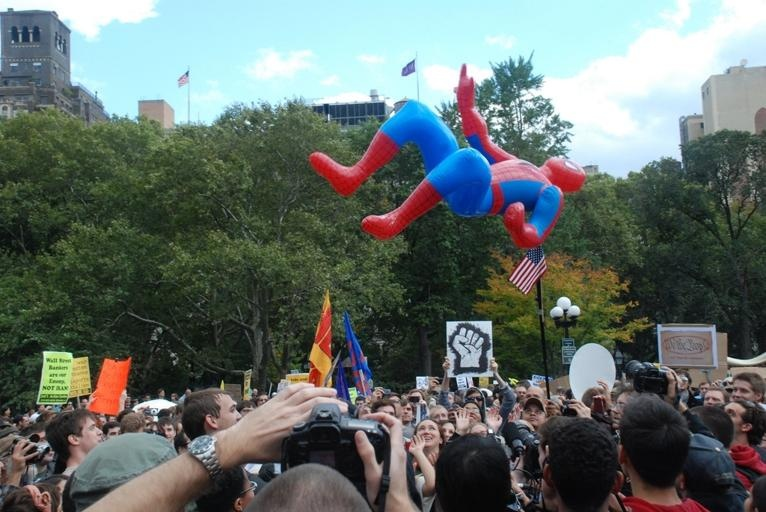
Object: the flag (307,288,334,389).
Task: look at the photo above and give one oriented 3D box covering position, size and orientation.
[{"bbox_3d":[-2.408,3.502,37.681,1.295,3.884,0.974,-1,11,-18],"label":"flag"}]
